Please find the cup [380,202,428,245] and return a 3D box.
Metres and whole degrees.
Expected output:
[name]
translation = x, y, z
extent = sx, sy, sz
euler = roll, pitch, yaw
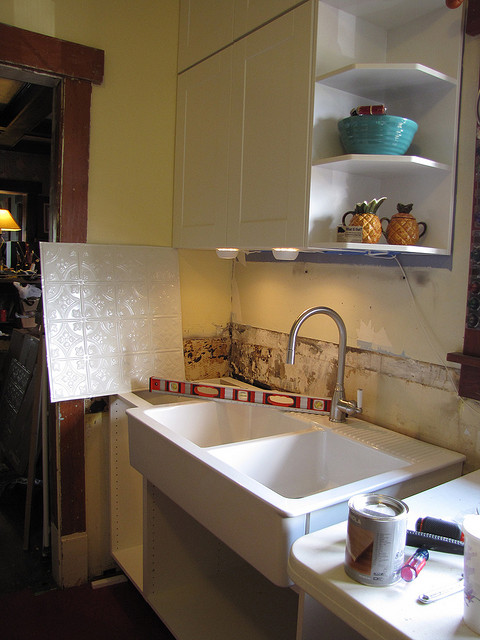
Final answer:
[cup]
translation = 0.421, -0.242, 1.259
extent = 0.068, 0.112, 0.116
euler = -7, 4, -43
